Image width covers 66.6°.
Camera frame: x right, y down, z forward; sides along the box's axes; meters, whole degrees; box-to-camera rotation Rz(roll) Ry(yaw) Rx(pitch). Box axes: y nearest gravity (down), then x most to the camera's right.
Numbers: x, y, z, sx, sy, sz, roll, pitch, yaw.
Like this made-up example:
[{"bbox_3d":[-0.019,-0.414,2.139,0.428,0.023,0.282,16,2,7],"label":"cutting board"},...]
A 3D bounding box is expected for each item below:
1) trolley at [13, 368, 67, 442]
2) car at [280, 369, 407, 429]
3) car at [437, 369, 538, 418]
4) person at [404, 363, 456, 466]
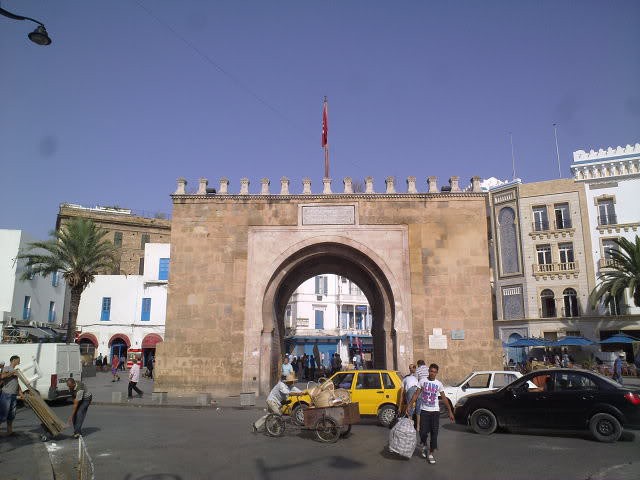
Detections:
[{"bbox_3d":[-9.040,5.296,15.652,1.497,3.031,1.635,3,-6,-44],"label":"trolley"},{"bbox_3d":[1.394,5.054,14.796,4.089,1.739,2.034,0,-10,-2],"label":"car"},{"bbox_3d":[5.737,5.522,16.971,3.014,1.384,1.788,-1,-13,10],"label":"car"},{"bbox_3d":[2.611,4.091,11.750,0.860,2.435,1.036,-1,-6,8],"label":"person"}]
